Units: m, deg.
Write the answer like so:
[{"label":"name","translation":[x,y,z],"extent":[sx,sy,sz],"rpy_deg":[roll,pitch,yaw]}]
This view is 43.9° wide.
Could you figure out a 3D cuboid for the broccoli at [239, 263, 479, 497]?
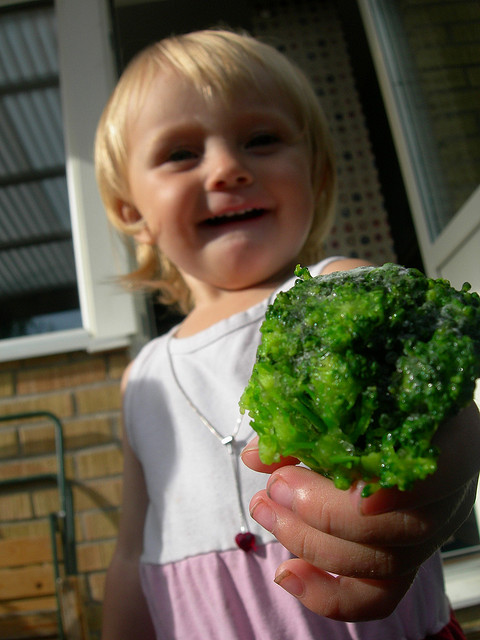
[{"label":"broccoli","translation":[0.172,0.122,1.018],"extent":[0.345,0.341,0.371],"rpy_deg":[-2,-21,11]}]
